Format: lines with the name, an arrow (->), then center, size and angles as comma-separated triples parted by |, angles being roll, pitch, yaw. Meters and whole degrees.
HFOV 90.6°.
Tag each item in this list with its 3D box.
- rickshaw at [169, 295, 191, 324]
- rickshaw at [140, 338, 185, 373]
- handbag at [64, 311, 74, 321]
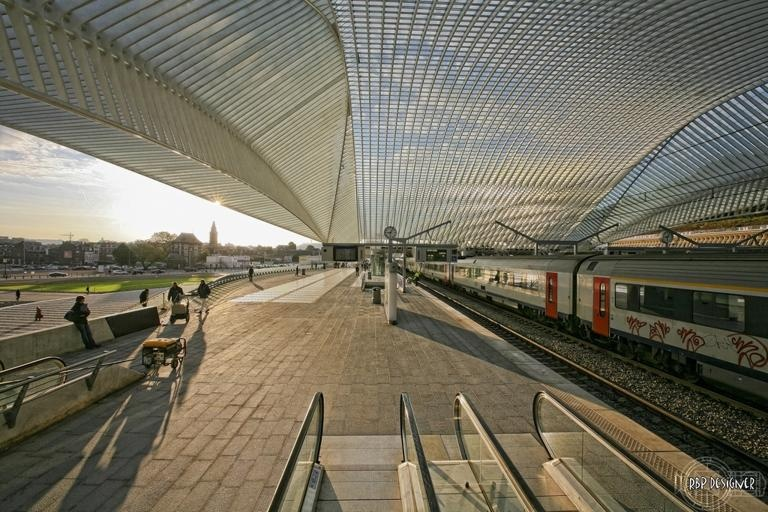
rickshaw -> -10.069, 2.686, 18.716 | 0.829, 1.212, 1.062 | 0, 1, -31
rickshaw -> -7.374, 3.191, 12.952 | 0.997, 0.927, 1.582 | 1, 3, -4
handbag -> -11.455, 2.205, 13.882 | 0.145, 0.507, 0.566 | -2, 0, -26
